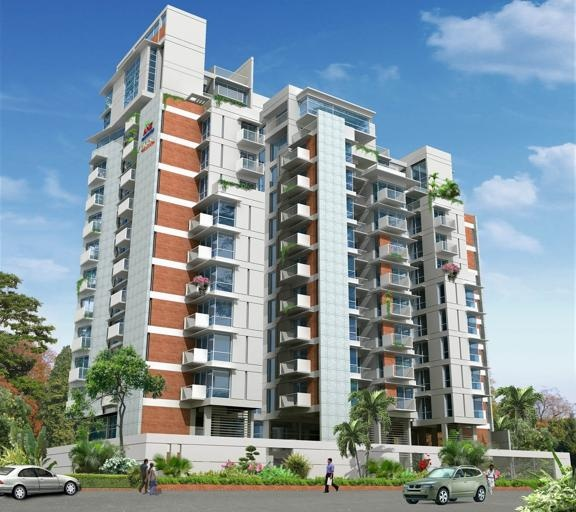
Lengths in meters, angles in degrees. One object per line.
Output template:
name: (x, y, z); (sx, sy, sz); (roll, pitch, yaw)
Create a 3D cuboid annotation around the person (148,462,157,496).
person: (-7.210, 11.725, 38.103); (0.492, 1.541, 1.109); (3, -20, -10)
